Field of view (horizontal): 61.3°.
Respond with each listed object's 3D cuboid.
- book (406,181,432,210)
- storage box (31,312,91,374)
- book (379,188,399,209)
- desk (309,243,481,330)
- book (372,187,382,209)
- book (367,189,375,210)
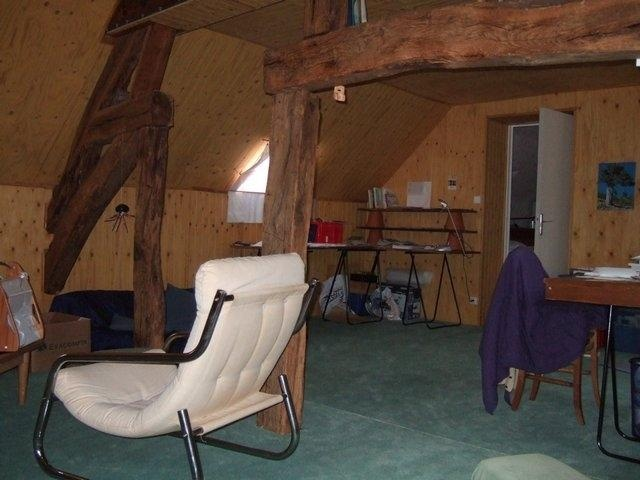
[{"bbox_3d":[1.329,-0.588,7.180,0.387,0.402,0.044,1,-5,43],"label":"book"},{"bbox_3d":[-2.129,0.788,4.441,0.481,0.470,0.467,1,1,-38],"label":"storage box"},{"bbox_3d":[0.917,-0.545,7.243,0.103,0.279,0.294,-13,-9,38],"label":"book"},{"bbox_3d":[0.847,0.474,6.952,2.102,1.085,1.729,1,5,-5],"label":"desk"},{"bbox_3d":[0.769,-0.558,7.184,0.049,0.215,0.211,-5,-3,24],"label":"book"},{"bbox_3d":[0.674,-0.531,7.205,0.068,0.219,0.161,1,2,-8],"label":"book"}]
